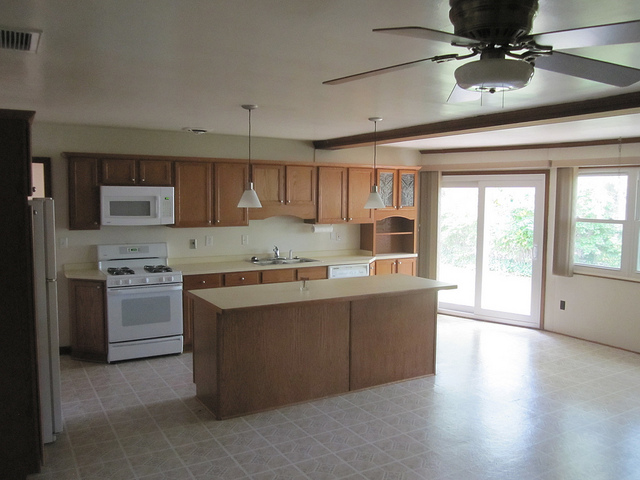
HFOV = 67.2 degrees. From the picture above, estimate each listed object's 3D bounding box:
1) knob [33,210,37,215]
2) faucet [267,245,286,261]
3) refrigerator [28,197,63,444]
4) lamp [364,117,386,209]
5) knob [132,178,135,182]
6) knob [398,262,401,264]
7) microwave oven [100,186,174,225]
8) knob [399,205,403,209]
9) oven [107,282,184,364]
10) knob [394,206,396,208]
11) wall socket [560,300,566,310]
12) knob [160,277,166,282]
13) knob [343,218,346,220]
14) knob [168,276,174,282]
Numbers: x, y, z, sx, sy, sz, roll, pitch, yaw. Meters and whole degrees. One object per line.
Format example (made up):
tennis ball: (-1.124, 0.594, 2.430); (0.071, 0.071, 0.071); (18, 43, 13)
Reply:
knob: (-2.157, -0.214, 3.617); (0.030, 0.025, 0.007); (1, 3, -5)
faucet: (-0.637, 0.190, 6.741); (0.182, 0.118, 0.183); (0, -1, 38)
refrigerator: (-2.120, 0.622, 3.732); (0.157, 1.890, 0.399); (-4, 7, -28)
lamp: (0.627, -0.873, 5.499); (0.335, 1.013, 0.351); (2, 9, 19)
knob: (-2.203, -0.712, 5.629); (0.032, 0.020, 0.017); (5, 11, 35)
knob: (1.217, 0.340, 7.384); (0.054, 0.027, 0.028); (0, -5, 4)
microwave oven: (-2.178, -0.386, 5.801); (0.844, 0.469, 0.496); (-1, -3, -17)
knob: (1.228, -0.520, 7.365); (0.054, 0.045, 0.012); (4, 4, -26)
oven: (-2.217, 0.929, 5.694); (0.892, 0.932, 0.682); (1, -5, -45)
knob: (1.136, -0.516, 7.320); (0.032, 0.026, 0.016); (-1, 11, -12)
wall socket: (3.368, 0.887, 6.676); (0.065, 0.130, 0.008); (5, 8, 42)
knob: (-1.802, 0.438, 5.471); (0.037, 0.047, 0.039); (-2, -6, -15)
knob: (0.339, -0.322, 6.969); (0.033, 0.042, 0.045); (-1, 4, -23)
knob: (-1.724, 0.439, 5.521); (0.062, 0.069, 0.022); (-2, 6, -15)
